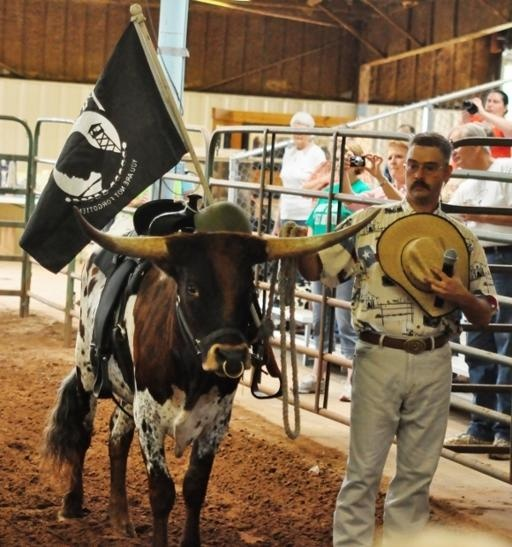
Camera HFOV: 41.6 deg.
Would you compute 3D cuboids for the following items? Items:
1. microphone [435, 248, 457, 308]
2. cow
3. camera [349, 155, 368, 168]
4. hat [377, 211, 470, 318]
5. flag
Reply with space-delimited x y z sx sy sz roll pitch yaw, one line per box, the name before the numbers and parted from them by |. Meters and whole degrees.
microphone | 0.720 0.023 2.538 0.065 0.218 0.148 6 6 15
cow | -0.369 0.464 2.763 0.756 1.494 1.374 1 6 -26
camera | 0.666 -0.713 4.405 0.138 0.064 0.087 2 2 6
hat | 0.655 -0.004 2.604 0.355 0.405 0.126 -32 3 -20
flag | -0.627 -0.539 2.994 0.673 1.461 0.146 1 -23 16
